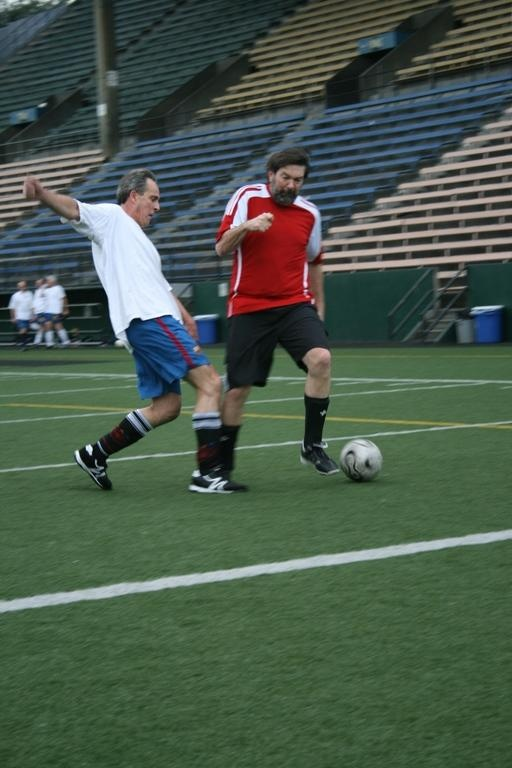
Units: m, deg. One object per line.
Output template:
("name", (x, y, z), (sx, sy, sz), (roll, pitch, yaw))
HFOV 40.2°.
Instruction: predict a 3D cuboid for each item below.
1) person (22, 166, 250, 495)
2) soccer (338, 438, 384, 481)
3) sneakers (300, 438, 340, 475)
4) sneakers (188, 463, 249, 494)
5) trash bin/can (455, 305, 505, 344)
("person", (-0.645, -0.344, 4.070), (0.939, 1.322, 0.655), (-3, 2, -13))
("soccer", (0.594, 0.448, 4.091), (0.229, 0.234, 0.208), (-3, 2, 6))
("sneakers", (0.389, 0.434, 4.370), (0.124, 0.146, 0.338), (-15, 27, -36))
("sneakers", (-0.235, 0.551, 3.978), (0.358, 0.138, 0.122), (1, -2, 9))
("trash bin/can", (5.353, -1.420, 16.835), (1.123, 0.906, 0.899), (3, 4, 17))
